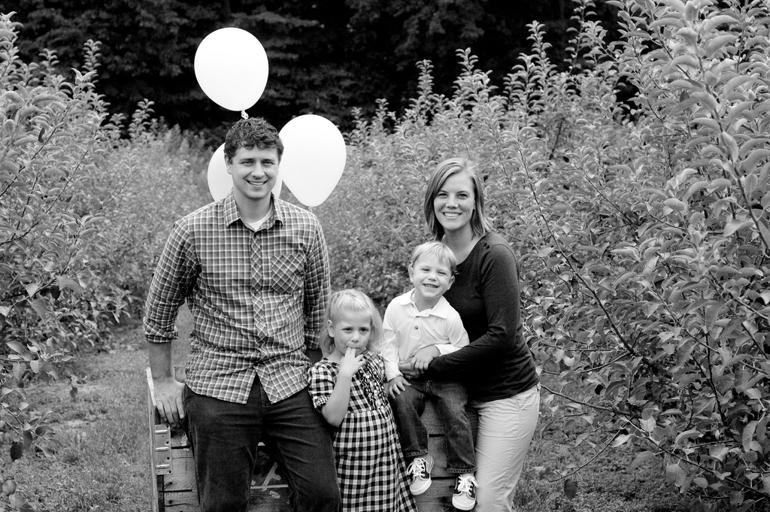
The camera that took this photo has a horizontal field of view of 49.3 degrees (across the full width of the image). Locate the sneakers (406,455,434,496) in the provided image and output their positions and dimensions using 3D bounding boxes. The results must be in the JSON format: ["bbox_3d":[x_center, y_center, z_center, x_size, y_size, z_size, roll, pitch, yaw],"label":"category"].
[{"bbox_3d":[0.219,1.383,5.293,0.124,0.115,0.260,-21,3,8],"label":"sneakers"}]
